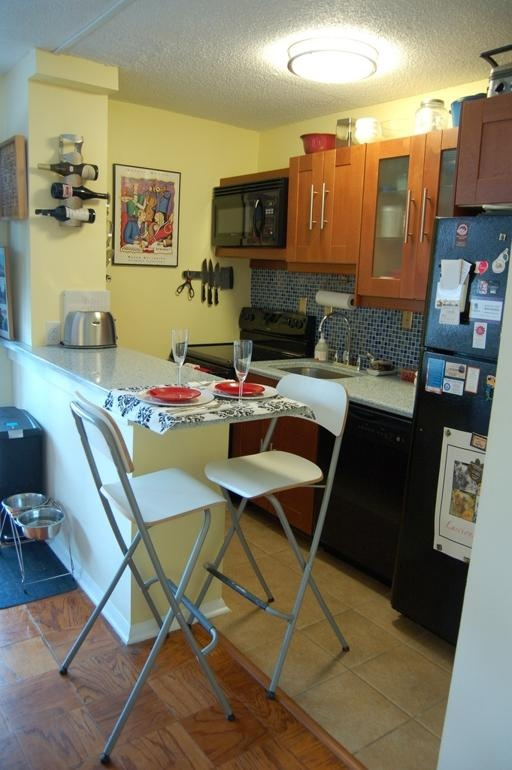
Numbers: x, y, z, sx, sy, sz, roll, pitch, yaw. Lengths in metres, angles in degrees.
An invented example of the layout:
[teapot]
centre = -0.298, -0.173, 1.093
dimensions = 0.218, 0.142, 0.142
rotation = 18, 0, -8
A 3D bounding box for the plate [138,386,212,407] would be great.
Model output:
[plate]
centre = -0.202, 0.032, 1.458
dimensions = 0.193, 0.024, 0.168
rotation = 1, 7, -11

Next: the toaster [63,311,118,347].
[toaster]
centre = -0.811, -0.270, 2.743
dimensions = 0.254, 0.182, 0.164
rotation = 0, 7, -20

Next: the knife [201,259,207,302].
[knife]
centre = -0.343, -0.692, 3.723
dimensions = 0.017, 0.275, 0.047
rotation = 9, 10, 44

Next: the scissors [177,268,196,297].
[scissors]
centre = -0.454, -0.667, 3.622
dimensions = 0.143, 0.201, 0.022
rotation = -22, 39, -40

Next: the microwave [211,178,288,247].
[microwave]
centre = -0.021, -1.010, 3.289
dimensions = 0.238, 0.312, 0.465
rotation = -8, 16, -33

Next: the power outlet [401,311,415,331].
[power outlet]
centre = 0.756, -0.321, 2.782
dimensions = 0.013, 0.131, 0.072
rotation = -9, 18, -37

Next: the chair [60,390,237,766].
[chair]
centre = -0.305, 0.587, 1.670
dimensions = 0.460, 1.053, 0.508
rotation = -10, 24, -27

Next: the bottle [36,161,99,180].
[bottle]
centre = -0.871, -0.974, 2.595
dimensions = 0.269, 0.088, 0.087
rotation = 0, -18, -23
